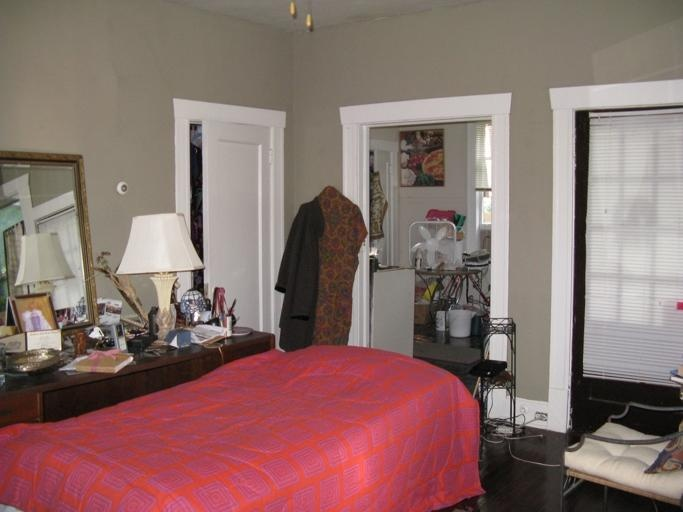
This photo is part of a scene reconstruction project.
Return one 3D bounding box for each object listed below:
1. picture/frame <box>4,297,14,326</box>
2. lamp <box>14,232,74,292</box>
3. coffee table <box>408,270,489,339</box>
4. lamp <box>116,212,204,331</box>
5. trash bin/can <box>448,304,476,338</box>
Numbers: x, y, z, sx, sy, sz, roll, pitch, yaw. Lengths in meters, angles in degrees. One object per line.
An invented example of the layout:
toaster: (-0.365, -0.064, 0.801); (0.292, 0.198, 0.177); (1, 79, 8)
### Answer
picture/frame: (-2.003, 0.347, 3.087); (0.055, 0.171, 0.166); (0, -1, -25)
lamp: (-1.948, 0.035, 3.370); (0.331, 0.442, 0.289); (1, 13, 16)
coffee table: (1.655, 0.632, 7.752); (1.001, 0.665, 1.071); (0, 4, 22)
lamp: (-1.141, 0.137, 3.254); (0.442, 0.803, 0.340); (-8, 16, -43)
trash bin/can: (1.599, 0.909, 6.820); (0.373, 0.357, 0.310); (1, -4, 7)
